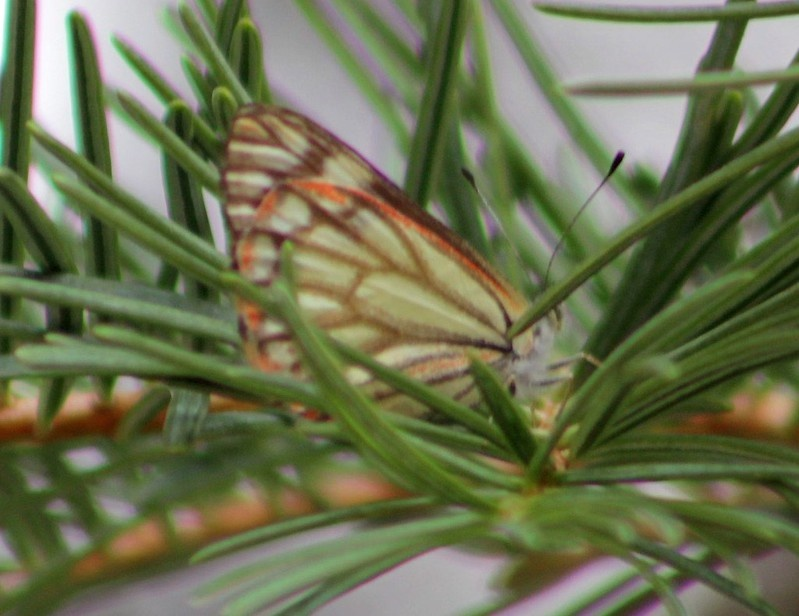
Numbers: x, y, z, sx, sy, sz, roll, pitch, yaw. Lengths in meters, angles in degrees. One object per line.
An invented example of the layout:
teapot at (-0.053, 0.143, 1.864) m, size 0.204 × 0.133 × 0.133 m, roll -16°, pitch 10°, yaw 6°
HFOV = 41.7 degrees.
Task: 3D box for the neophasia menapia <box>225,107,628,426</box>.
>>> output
neophasia menapia at (0.021, -0.024, 0.798) m, size 0.321 × 0.246 × 0.206 m, roll 7°, pitch 8°, yaw -7°
